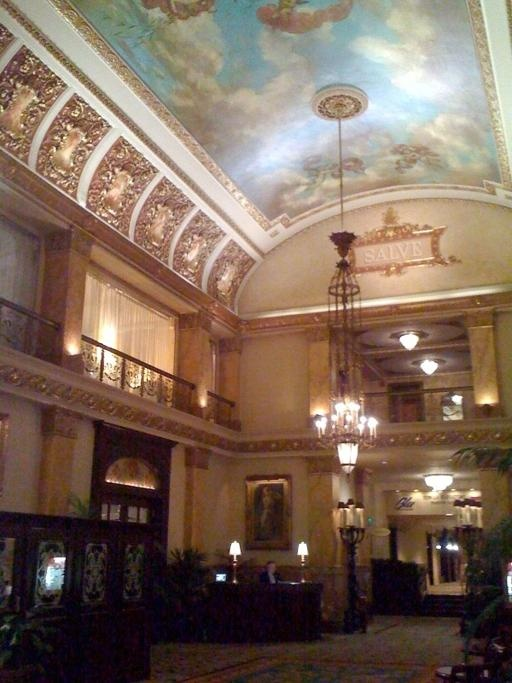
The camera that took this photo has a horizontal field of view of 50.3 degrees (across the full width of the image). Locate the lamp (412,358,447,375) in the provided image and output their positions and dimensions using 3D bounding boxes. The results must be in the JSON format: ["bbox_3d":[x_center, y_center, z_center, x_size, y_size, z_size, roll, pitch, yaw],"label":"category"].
[{"bbox_3d":[4.956,0.650,15.791,0.855,0.257,0.823,15,-28,-23],"label":"lamp"}]

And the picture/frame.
[{"bbox_3d":[0.291,3.856,12.172,1.669,2.165,0.187,-6,-23,18],"label":"picture/frame"}]
